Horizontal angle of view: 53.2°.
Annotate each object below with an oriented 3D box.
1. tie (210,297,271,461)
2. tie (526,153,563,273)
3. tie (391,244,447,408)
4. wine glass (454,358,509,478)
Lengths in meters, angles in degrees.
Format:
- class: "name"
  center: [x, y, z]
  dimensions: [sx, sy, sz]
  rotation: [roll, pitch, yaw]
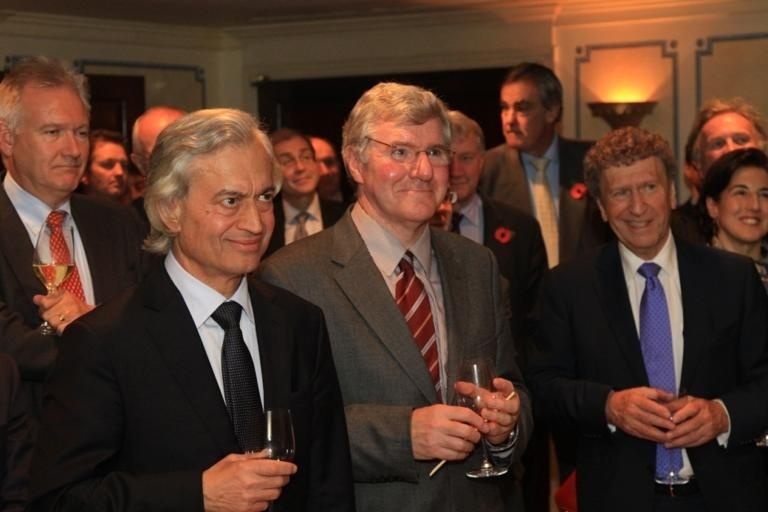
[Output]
- class: "tie"
  center: [-0.552, 0.439, 2.832]
  dimensions: [0.170, 0.595, 0.146]
  rotation: [-7, -21, -18]
- class: "tie"
  center: [1.092, -0.334, 5.283]
  dimensions: [0.187, 0.923, 0.146]
  rotation: [-6, -2, 7]
- class: "tie"
  center: [0.146, 0.280, 3.264]
  dimensions: [0.144, 0.706, 0.091]
  rotation: [-4, -19, -11]
- class: "wine glass"
  center: [0.402, 0.677, 3.148]
  dimensions: [0.202, 0.560, 0.186]
  rotation: [-3, 10, 4]
